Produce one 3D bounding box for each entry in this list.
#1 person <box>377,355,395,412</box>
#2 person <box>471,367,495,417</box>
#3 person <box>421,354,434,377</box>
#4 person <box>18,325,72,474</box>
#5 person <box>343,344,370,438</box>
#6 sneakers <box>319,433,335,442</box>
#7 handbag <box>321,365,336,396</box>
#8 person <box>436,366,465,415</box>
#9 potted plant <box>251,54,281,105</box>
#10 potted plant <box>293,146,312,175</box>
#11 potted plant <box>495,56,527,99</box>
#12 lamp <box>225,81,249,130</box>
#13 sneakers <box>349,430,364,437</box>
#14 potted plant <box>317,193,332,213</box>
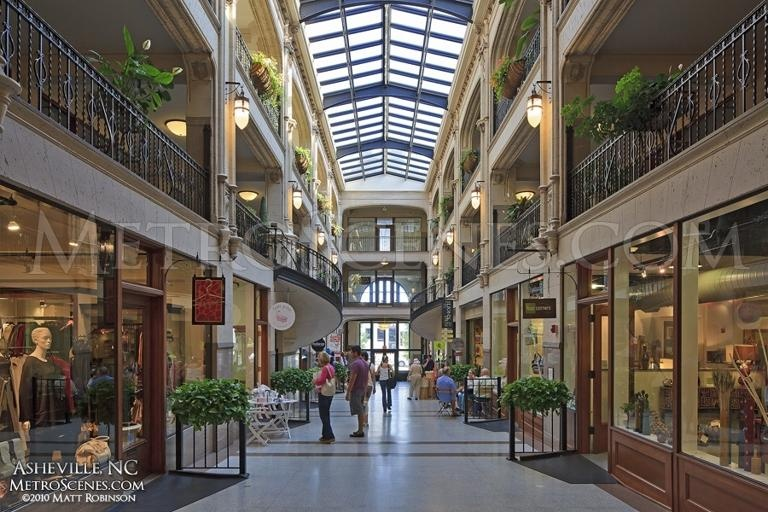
[{"bbox_3d":[0.078,3.233,17.451,0.486,1.584,0.486,-3,19,7],"label":"person"},{"bbox_3d":[2.409,3.296,15.633,0.631,1.162,0.924,0,-4,10],"label":"person"},{"bbox_3d":[1.510,3.641,21.806,0.378,0.590,1.010,0,-4,5],"label":"person"},{"bbox_3d":[-3.936,1.554,7.521,0.170,1.480,0.581,-2,-4,28],"label":"person"},{"bbox_3d":[-0.508,2.679,12.918,0.387,1.738,1.252,0,-3,-1],"label":"person"},{"bbox_3d":[-1.067,3.350,12.027,0.289,0.136,0.120,-2,-6,35],"label":"sneakers"},{"bbox_3d":[-1.019,2.289,11.989,0.147,0.570,0.289,-3,-4,44],"label":"handbag"},{"bbox_3d":[1.661,3.389,16.561,0.581,1.230,0.664,1,5,34],"label":"person"},{"bbox_3d":[-2.497,-3.841,13.968,0.300,0.746,0.874,-24,-3,-14],"label":"potted plant"},{"bbox_3d":[-2.397,-2.850,19.012,0.642,0.549,0.707,0,-14,-4],"label":"potted plant"},{"bbox_3d":[2.602,-3.707,13.375,0.521,0.674,1.245,0,-4,4],"label":"potted plant"},{"bbox_3d":[-2.704,-2.777,11.779,0.395,0.981,0.830,1,-4,-16],"label":"lamp"},{"bbox_3d":[-0.554,3.465,12.735,0.312,0.139,0.122,-1,-8,17],"label":"sneakers"},{"bbox_3d":[-2.378,-2.033,24.555,0.565,0.470,0.597,1,0,41],"label":"potted plant"}]
